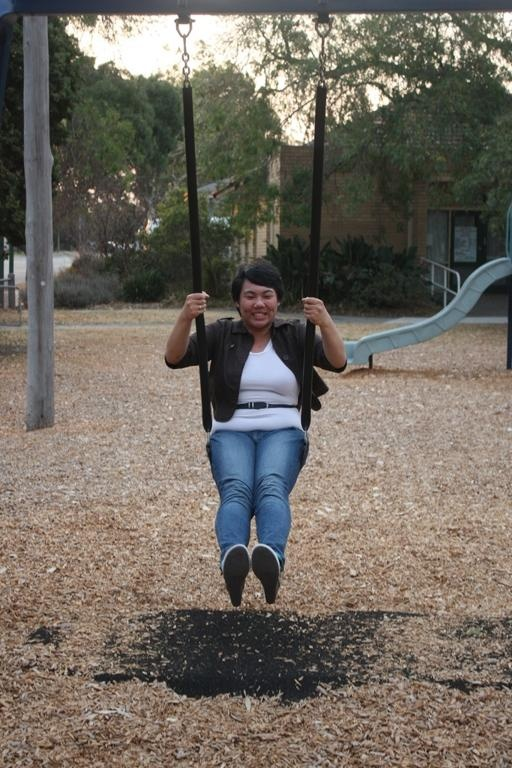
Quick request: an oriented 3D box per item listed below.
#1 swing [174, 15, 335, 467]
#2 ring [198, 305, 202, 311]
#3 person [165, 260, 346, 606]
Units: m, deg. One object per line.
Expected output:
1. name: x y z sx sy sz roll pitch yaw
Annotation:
1. swing: -0.006 -0.587 3.614 0.559 1.424 0.751 0 2 0
2. ring: -0.207 -0.281 3.409 0.006 0.021 0.015 3 -2 37
3. person: 0.015 0.136 3.263 0.613 1.343 0.667 3 11 -7
